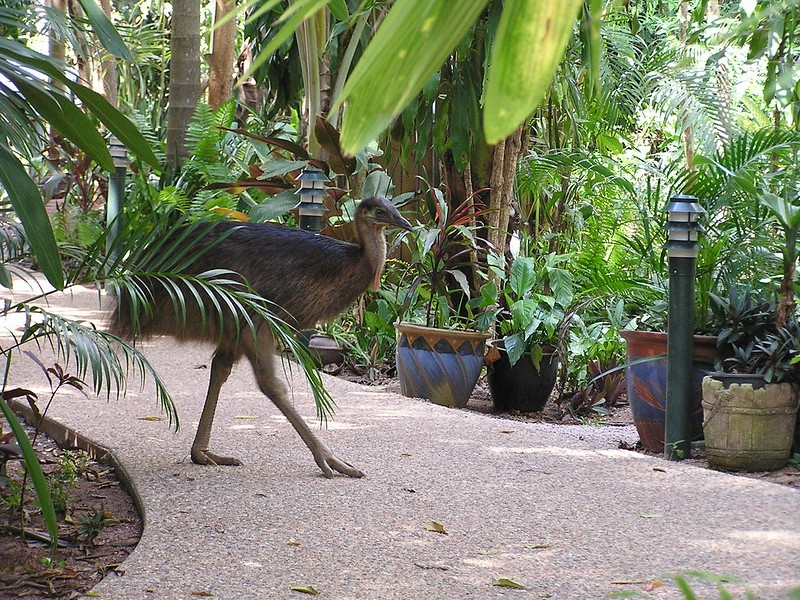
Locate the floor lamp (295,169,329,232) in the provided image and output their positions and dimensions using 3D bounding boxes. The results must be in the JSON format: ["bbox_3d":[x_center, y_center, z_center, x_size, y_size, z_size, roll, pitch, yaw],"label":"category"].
[{"bbox_3d":[-0.654,-0.720,6.215,0.266,0.502,0.260,3,-1,26],"label":"floor lamp"}]

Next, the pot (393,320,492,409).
[{"bbox_3d":[0.292,0.400,6.226,0.636,0.618,0.484,6,12,-13],"label":"pot"}]

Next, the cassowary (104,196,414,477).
[{"bbox_3d":[-0.638,0.171,4.012,1.397,1.279,0.814,0,9,-19],"label":"cassowary"}]

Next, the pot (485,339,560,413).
[{"bbox_3d":[0.934,0.602,6.819,0.549,0.590,0.497,-2,15,-27],"label":"pot"}]

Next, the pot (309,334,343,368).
[{"bbox_3d":[-0.623,0.414,6.972,0.348,0.293,0.373,-2,-2,0],"label":"pot"}]

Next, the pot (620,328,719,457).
[{"bbox_3d":[1.553,0.552,5.271,0.716,0.715,0.700,1,3,0],"label":"pot"}]
